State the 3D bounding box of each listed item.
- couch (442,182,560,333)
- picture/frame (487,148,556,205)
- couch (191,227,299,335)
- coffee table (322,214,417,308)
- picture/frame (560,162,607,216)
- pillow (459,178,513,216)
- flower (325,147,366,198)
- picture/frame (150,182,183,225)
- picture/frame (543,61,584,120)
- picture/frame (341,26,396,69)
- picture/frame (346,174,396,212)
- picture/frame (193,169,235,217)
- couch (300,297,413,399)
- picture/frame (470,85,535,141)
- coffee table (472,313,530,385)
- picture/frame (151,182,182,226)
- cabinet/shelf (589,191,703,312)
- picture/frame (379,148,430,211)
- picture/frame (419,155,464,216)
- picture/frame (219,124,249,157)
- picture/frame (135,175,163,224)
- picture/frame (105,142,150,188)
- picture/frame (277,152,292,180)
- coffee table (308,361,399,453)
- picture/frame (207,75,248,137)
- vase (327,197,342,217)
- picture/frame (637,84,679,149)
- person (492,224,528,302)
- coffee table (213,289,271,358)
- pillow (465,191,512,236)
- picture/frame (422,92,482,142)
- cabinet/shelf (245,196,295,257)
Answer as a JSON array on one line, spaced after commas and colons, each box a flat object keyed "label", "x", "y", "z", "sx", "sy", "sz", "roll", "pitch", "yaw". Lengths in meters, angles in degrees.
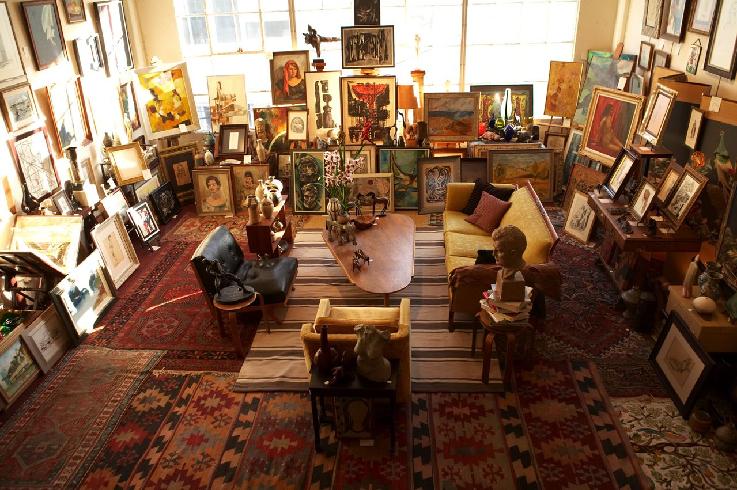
[{"label": "couch", "x": 1.971, "y": -0.030, "z": 7.153, "sx": 1.509, "sy": 1.148, "sz": 3.401, "roll": -1, "pitch": 21, "yaw": 13}, {"label": "picture/frame", "x": 2.686, "y": -1.236, "z": 8.156, "sx": 1.243, "sy": 1.004, "sz": 0.121, "roll": -2, "pitch": 12, "yaw": -4}, {"label": "couch", "x": -1.507, "y": 0.621, "z": 6.493, "sx": 1.489, "sy": 1.398, "sz": 1.436, "roll": 0, "pitch": 37, "yaw": -9}, {"label": "coffee table", "x": 0.163, "y": 0.152, "z": 6.514, "sx": 1.118, "sy": 0.394, "sz": 1.634, "roll": -6, "pitch": 40, "yaw": -12}, {"label": "picture/frame", "x": 4.116, "y": -0.996, "z": 8.502, "sx": 0.218, "sy": 0.829, "sz": 0.907, "roll": 11, "pitch": 14, "yaw": -25}, {"label": "pillow", "x": 1.877, "y": -0.684, "z": 7.339, "sx": 0.197, "sy": 0.592, "sz": 0.641, "roll": 14, "pitch": 4, "yaw": -39}, {"label": "flower", "x": -0.409, "y": -1.032, "z": 7.030, "sx": 0.477, "sy": 0.801, "sz": 0.547, "roll": 6, "pitch": 8, "yaw": 0}, {"label": "picture/frame", "x": -3.959, "y": -0.780, "z": 8.910, "sx": 0.101, "sy": 0.612, "sz": 0.718, "roll": -16, "pitch": 29, "yaw": 20}, {"label": "picture/frame", "x": 3.989, "y": -3.150, "z": 9.374, "sx": 0.630, "sy": 1.070, "sz": 0.275, "roll": 10, "pitch": 26, "yaw": 27}, {"label": "picture/frame", "x": 0.004, "y": -3.866, "z": 8.970, "sx": 0.876, "sy": 0.612, "sz": 0.036, "roll": 1, "pitch": 21, "yaw": 4}, {"label": "picture/frame", "x": 0.015, "y": -0.917, "z": 8.084, "sx": 0.852, "sy": 0.686, "sz": 0.083, "roll": -4, "pitch": 24, "yaw": -8}, {"label": "picture/frame", "x": -3.037, "y": -1.039, "z": 9.059, "sx": 0.970, "sy": 1.246, "sz": 0.185, "roll": 0, "pitch": 26, "yaw": 3}, {"label": "couch", "x": -0.072, "y": 0.951, "z": 5.336, "sx": 1.107, "sy": 1.065, "sz": 1.155, "roll": 0, "pitch": 40, "yaw": 6}, {"label": "picture/frame", "x": 2.787, "y": -2.701, "z": 9.567, "sx": 1.340, "sy": 1.070, "sz": 0.093, "roll": -1, "pitch": 5, "yaw": -9}, {"label": "coffee table", "x": 1.726, "y": 1.319, "z": 5.433, "sx": 0.647, "sy": 0.647, "sz": 0.653, "roll": 2, "pitch": -14, "yaw": 21}, {"label": "picture/frame", "x": -3.954, "y": -0.766, "z": 8.906, "sx": 0.100, "sy": 0.620, "sz": 0.732, "roll": -15, "pitch": 28, "yaw": 21}, {"label": "cabinet/shelf", "x": 3.886, "y": -0.049, "z": 6.767, "sx": 0.951, "sy": 1.086, "sz": 1.685, "roll": -4, "pitch": 31, "yaw": 6}, {"label": "picture/frame", "x": 0.699, "y": -1.211, "z": 8.662, "sx": 1.299, "sy": 1.578, "sz": 0.063, "roll": -1, "pitch": 1, "yaw": -1}, {"label": "picture/frame", "x": 1.281, "y": -1.032, "z": 8.190, "sx": 1.150, "sy": 1.401, "sz": 0.140, "roll": -1, "pitch": 2, "yaw": -5}, {"label": "picture/frame", "x": -2.768, "y": -2.118, "z": 9.430, "sx": 0.680, "sy": 0.719, "sz": 0.072, "roll": 0, "pitch": -1, "yaw": -1}, {"label": "picture/frame", "x": -4.074, "y": -0.811, "z": 8.486, "sx": 0.054, "sy": 0.728, "sz": 0.742, "roll": -4, "pitch": 25, "yaw": 21}, {"label": "picture/frame", "x": -4.197, "y": -1.393, "z": 8.031, "sx": 0.558, "sy": 0.667, "sz": 0.288, "roll": -14, "pitch": 26, "yaw": -25}, {"label": "picture/frame", "x": -1.751, "y": -1.618, "z": 9.524, "sx": 0.283, "sy": 0.477, "sz": 0.274, "roll": -4, "pitch": 23, "yaw": -3}, {"label": "coffee table", "x": -0.118, "y": 1.802, "z": 4.776, "sx": 1.169, "sy": 0.954, "sz": 0.837, "roll": -1, "pitch": 36, "yaw": 3}, {"label": "picture/frame", "x": -2.891, "y": -2.907, "z": 9.474, "sx": 0.785, "sy": 1.056, "sz": 0.365, "roll": -7, "pitch": 24, "yaw": -9}, {"label": "vase", "x": -0.504, "y": -0.579, "z": 6.936, "sx": 0.216, "sy": 0.267, "sz": 0.264, "roll": 0, "pitch": 30, "yaw": 2}, {"label": "picture/frame", "x": 4.087, "y": -1.798, "z": 6.471, "sx": 0.250, "sy": 0.813, "sz": 0.638, "roll": 4, "pitch": 24, "yaw": 16}, {"label": "person", "x": 1.564, "y": 0.234, "z": 5.092, "sx": 0.489, "sy": 0.921, "sz": 0.397, "roll": 1, "pitch": 39, "yaw": 8}, {"label": "coffee table", "x": -1.653, "y": 0.887, "z": 6.034, "sx": 0.531, "sy": 0.825, "sz": 0.692, "roll": 8, "pitch": 25, "yaw": 23}, {"label": "pillow", "x": 1.847, "y": -0.476, "z": 7.047, "sx": 0.186, "sy": 0.626, "sz": 0.667, "roll": 19, "pitch": 5, "yaw": -40}, {"label": "picture/frame", "x": 1.651, "y": -2.523, "z": 9.112, "sx": 1.030, "sy": 0.863, "sz": 0.101, "roll": -1, "pitch": 18, "yaw": 2}, {"label": "cabinet/shelf", "x": -1.536, "y": -0.260, "z": 7.101, "sx": 0.310, "sy": 0.546, "sz": 0.950, "roll": -1, "pitch": 35, "yaw": 3}]
